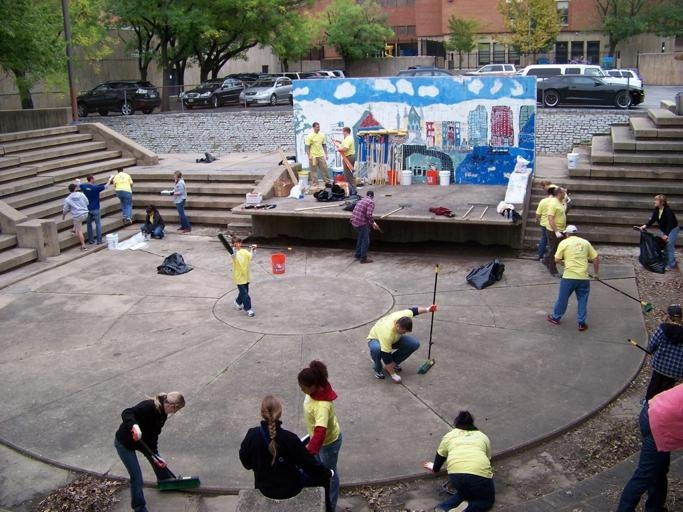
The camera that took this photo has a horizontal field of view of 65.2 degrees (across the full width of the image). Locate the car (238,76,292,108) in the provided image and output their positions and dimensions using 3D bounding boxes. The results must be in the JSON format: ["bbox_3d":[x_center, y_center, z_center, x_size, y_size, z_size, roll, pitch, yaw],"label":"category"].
[{"bbox_3d":[-4.732,-10.184,33.094,1.700,1.737,3.445,10,20,34],"label":"car"}]

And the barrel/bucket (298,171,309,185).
[{"bbox_3d":[-1.307,-2.706,18.372,0.550,0.630,0.536,-1,11,0],"label":"barrel/bucket"}]

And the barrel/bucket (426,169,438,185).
[{"bbox_3d":[3.195,-2.794,18.945,0.488,0.528,0.483,0,2,0],"label":"barrel/bucket"}]

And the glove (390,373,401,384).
[{"bbox_3d":[0.929,2.094,9.187,0.134,0.074,0.214,1,17,-20],"label":"glove"}]

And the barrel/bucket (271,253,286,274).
[{"bbox_3d":[-1.699,0.160,14.266,0.496,0.521,0.480,-1,19,0],"label":"barrel/bucket"}]

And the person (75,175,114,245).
[{"bbox_3d":[-7.674,-1.429,16.572,1.022,2.249,0.924,0,17,-25],"label":"person"}]

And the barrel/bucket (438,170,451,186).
[{"bbox_3d":[3.598,-2.737,18.646,0.398,0.499,0.312,1,17,9],"label":"barrel/bucket"}]

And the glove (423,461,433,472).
[{"bbox_3d":[1.179,2.859,7.293,0.090,0.039,0.149,-2,10,-1],"label":"glove"}]

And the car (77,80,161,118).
[{"bbox_3d":[-13.566,-9.527,32.271,4.283,1.873,1.361,1,17,10],"label":"car"}]

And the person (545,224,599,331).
[{"bbox_3d":[4.679,0.432,10.796,0.811,2.020,0.790,8,20,28],"label":"person"}]

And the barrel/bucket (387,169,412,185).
[{"bbox_3d":[2.044,-2.808,19.017,0.775,0.398,0.512,3,11,4],"label":"barrel/bucket"}]

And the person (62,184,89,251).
[{"bbox_3d":[-8.046,-1.258,16.261,0.731,1.937,1.443,-11,19,-26],"label":"person"}]

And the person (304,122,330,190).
[{"bbox_3d":[-0.794,-3.572,18.819,0.848,2.572,0.758,-2,20,-16],"label":"person"}]

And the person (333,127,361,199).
[{"bbox_3d":[0.186,-3.168,18.190,0.875,2.257,0.739,8,21,18],"label":"person"}]

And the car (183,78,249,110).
[{"bbox_3d":[-8.108,-10.313,33.884,3.752,1.790,1.583,-5,17,-12],"label":"car"}]

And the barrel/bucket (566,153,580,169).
[{"bbox_3d":[7.488,-3.110,17.387,0.281,0.491,0.714,6,18,23],"label":"barrel/bucket"}]

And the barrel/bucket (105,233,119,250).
[{"bbox_3d":[-6.923,-0.471,16.393,0.516,0.557,0.466,0,7,-3],"label":"barrel/bucket"}]

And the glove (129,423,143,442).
[{"bbox_3d":[-2.467,2.143,6.462,0.114,0.230,0.123,-13,20,-33],"label":"glove"}]

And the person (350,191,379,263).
[{"bbox_3d":[0.528,-0.830,14.742,0.990,1.816,0.651,-2,4,-28],"label":"person"}]

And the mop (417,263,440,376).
[{"bbox_3d":[1.713,1.423,10.038,0.531,2.340,0.450,0,12,-5],"label":"mop"}]
